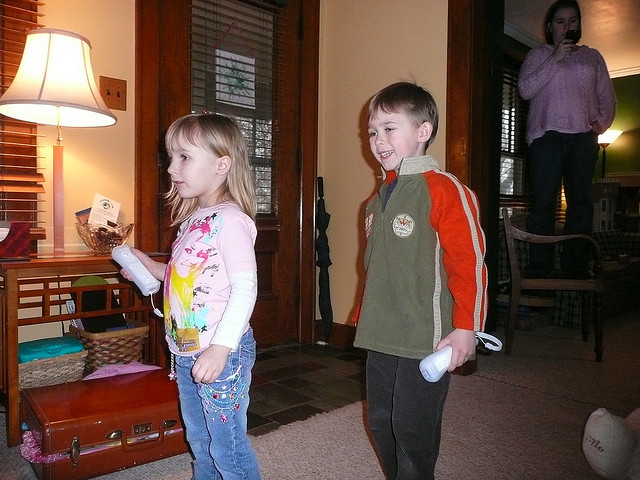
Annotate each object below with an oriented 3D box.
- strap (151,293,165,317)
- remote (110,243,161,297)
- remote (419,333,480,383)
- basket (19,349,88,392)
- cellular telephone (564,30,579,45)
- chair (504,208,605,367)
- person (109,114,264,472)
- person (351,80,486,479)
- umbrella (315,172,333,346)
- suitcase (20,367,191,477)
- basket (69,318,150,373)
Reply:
[{"bbox_3d":[-0.541,0.224,1.627,0.054,0.075,0.022,-6,9,27],"label":"strap"},{"bbox_3d":[-0.659,0.101,1.732,0.095,0.072,0.283,-24,61,-41],"label":"remote"},{"bbox_3d":[0.369,0.358,1.446,0.203,0.153,0.094,-3,7,-37],"label":"remote"},{"bbox_3d":[-1.238,0.632,2.249,0.282,0.123,0.195,-5,-18,-12],"label":"basket"},{"bbox_3d":[1.960,-1.589,3.770,0.032,0.120,0.121,9,11,43],"label":"cellular telephone"},{"bbox_3d":[1.666,0.299,3.409,0.701,0.956,0.671,0,0,18],"label":"chair"},{"bbox_3d":[-0.467,0.263,1.701,0.395,1.372,0.788,-3,6,-34],"label":"person"},{"bbox_3d":[0.302,0.151,1.567,0.457,1.340,0.298,6,7,45],"label":"person"},{"bbox_3d":[0.026,0.133,3.570,0.133,1.246,0.247,0,5,-1],"label":"umbrella"},{"bbox_3d":[-0.921,0.576,1.976,0.574,0.263,0.434,-2,1,-37],"label":"suitcase"},{"bbox_3d":[-0.980,0.560,2.377,0.331,0.167,0.263,-7,-32,-1],"label":"basket"}]
